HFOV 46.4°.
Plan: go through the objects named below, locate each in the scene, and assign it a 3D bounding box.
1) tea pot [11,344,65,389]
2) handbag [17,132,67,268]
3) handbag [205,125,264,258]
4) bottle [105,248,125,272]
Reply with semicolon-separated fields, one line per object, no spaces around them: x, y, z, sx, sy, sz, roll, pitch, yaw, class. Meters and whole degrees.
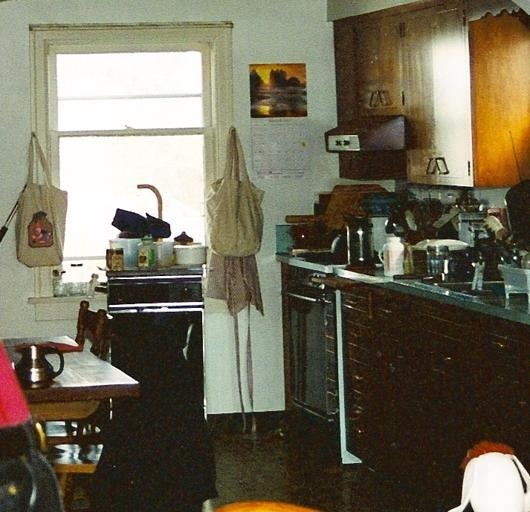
-0.677;0.331;1.844;0.161;0.103;0.099;2;-5;-4;tea pot
-1.319;-0.336;3.723;0.293;0.758;0.199;10;1;-20;handbag
-0.150;-0.385;3.647;0.351;0.751;0.198;10;1;-6;handbag
-0.862;0.023;3.569;0.147;0.151;0.132;0;5;-1;bottle
